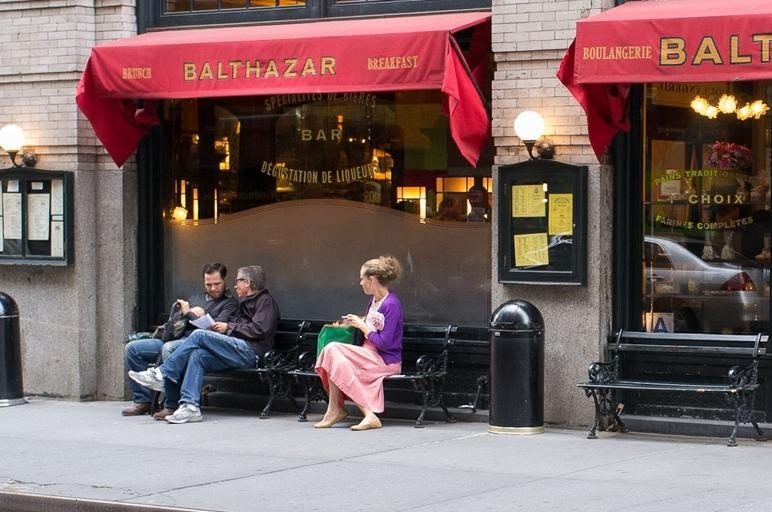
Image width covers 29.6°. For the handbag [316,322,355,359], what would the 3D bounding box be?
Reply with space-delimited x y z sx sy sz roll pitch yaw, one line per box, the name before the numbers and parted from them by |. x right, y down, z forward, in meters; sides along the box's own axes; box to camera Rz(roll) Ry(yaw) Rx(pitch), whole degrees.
handbag | -0.524 0.940 16.893 0.436 0.403 0.357 -3 -21 -1

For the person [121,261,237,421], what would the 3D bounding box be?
person | -2.364 0.964 17.477 1.374 1.834 1.095 5 -8 -44

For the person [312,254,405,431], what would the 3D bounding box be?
person | -0.271 0.980 16.717 0.954 1.993 0.383 1 -6 -3

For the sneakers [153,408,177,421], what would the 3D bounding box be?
sneakers | -2.596 1.846 17.107 0.303 0.130 0.126 3 -3 -21

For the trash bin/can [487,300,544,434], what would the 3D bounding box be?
trash bin/can | 1.475 1.223 16.274 0.584 1.480 0.338 1 -6 1

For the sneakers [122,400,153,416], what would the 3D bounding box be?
sneakers | -2.941 1.815 17.514 0.441 0.176 0.154 2 0 -8

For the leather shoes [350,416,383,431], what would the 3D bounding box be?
leather shoes | -0.180 1.896 16.587 0.405 0.163 0.134 1 -2 -19

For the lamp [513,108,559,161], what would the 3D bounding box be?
lamp | 1.713 -1.388 16.587 0.455 0.539 0.350 0 -6 6

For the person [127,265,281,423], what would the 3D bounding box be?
person | -2.019 1.022 17.248 1.545 1.883 0.506 2 -6 -8

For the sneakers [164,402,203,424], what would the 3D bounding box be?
sneakers | -2.306 1.827 16.927 0.447 0.208 0.175 3 -1 -22
